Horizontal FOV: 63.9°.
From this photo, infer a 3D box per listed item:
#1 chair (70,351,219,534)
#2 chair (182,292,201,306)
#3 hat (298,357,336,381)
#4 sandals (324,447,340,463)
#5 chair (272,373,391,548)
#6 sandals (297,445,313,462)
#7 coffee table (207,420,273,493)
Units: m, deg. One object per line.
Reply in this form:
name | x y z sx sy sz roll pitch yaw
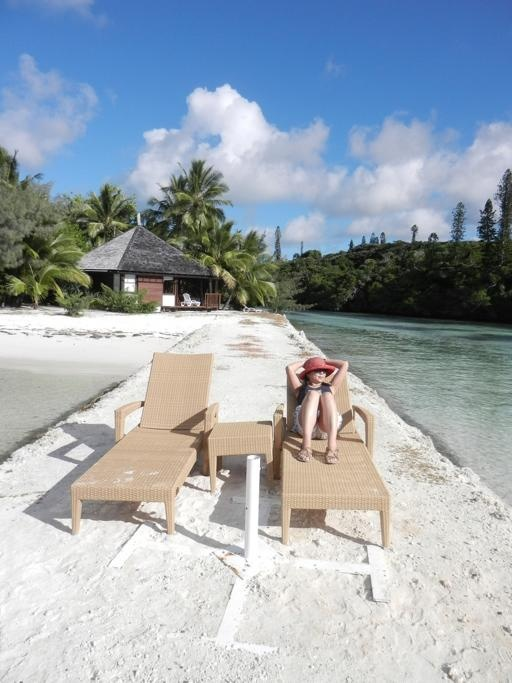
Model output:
chair | -0.793 0.702 3.257 0.613 0.762 1.565 1 4 6
chair | -4.988 -3.197 31.046 1.625 1.176 0.984 2 5 -2
hat | 0.531 0.218 3.627 0.240 0.124 0.212 -30 -20 34
sandals | 0.552 0.822 2.997 0.103 0.053 0.215 -2 -2 4
chair | 0.558 0.743 3.172 0.664 0.830 1.777 -7 8 7
sandals | 0.360 0.822 3.040 0.084 0.087 0.239 0 -7 5
coffee table | -0.117 0.922 3.312 0.503 0.512 0.501 2 4 1
